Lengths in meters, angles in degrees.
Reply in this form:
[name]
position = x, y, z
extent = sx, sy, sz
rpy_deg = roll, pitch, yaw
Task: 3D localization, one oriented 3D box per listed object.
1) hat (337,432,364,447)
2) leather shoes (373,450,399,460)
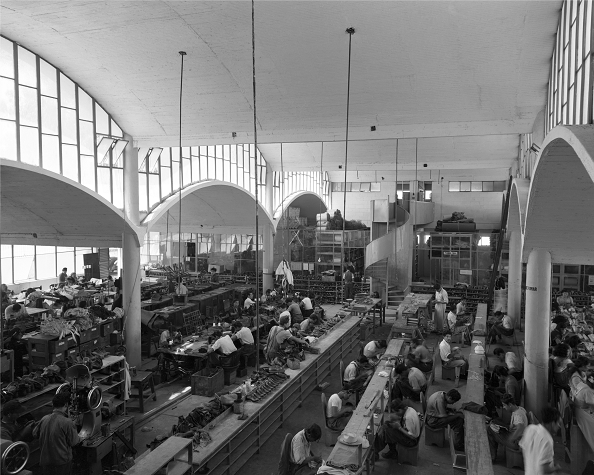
[hat]
position = 0.995, 3.681, 9.967
extent = 0.491, 0.171, 0.351
rpy_deg = -2, -1, 5
[leather shoes]
position = 1.762, 4.284, 10.793
extent = 0.432, 0.131, 0.194
rpy_deg = -2, -1, 8
